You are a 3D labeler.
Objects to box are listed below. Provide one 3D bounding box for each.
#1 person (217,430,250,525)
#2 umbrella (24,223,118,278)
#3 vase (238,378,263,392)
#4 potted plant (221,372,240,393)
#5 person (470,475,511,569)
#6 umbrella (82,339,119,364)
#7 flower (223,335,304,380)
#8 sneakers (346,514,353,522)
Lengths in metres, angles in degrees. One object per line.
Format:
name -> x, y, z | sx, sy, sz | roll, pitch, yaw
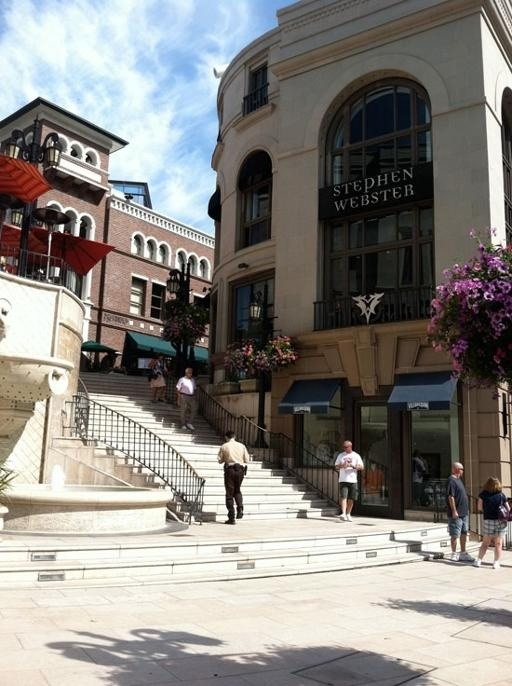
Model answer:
person -> -0.490, 2.728, 12.625 | 0.596, 1.840, 1.098 | 4, -11, -3
umbrella -> -6.160, -3.033, 20.935 | 2.311, 0.914, 2.193 | -6, -36, -3
vase -> -0.235, 1.386, 20.109 | 0.254, 0.455, 1.209 | 7, -11, -20
potted plant -> -0.874, 1.457, 21.283 | 0.594, 0.819, 0.896 | 8, -16, -26
person -> 3.929, 2.985, 10.363 | 0.572, 1.467, 1.233 | -1, -11, 19
umbrella -> -7.937, 0.354, 31.426 | 1.376, 0.614, 1.331 | -4, -13, 29
flower -> 0.171, 0.398, 18.210 | 1.610, 0.799, 1.441 | -2, -4, -38
sneakers -> 2.177, 4.037, 14.360 | 0.114, 0.134, 0.323 | -6, -21, -4
